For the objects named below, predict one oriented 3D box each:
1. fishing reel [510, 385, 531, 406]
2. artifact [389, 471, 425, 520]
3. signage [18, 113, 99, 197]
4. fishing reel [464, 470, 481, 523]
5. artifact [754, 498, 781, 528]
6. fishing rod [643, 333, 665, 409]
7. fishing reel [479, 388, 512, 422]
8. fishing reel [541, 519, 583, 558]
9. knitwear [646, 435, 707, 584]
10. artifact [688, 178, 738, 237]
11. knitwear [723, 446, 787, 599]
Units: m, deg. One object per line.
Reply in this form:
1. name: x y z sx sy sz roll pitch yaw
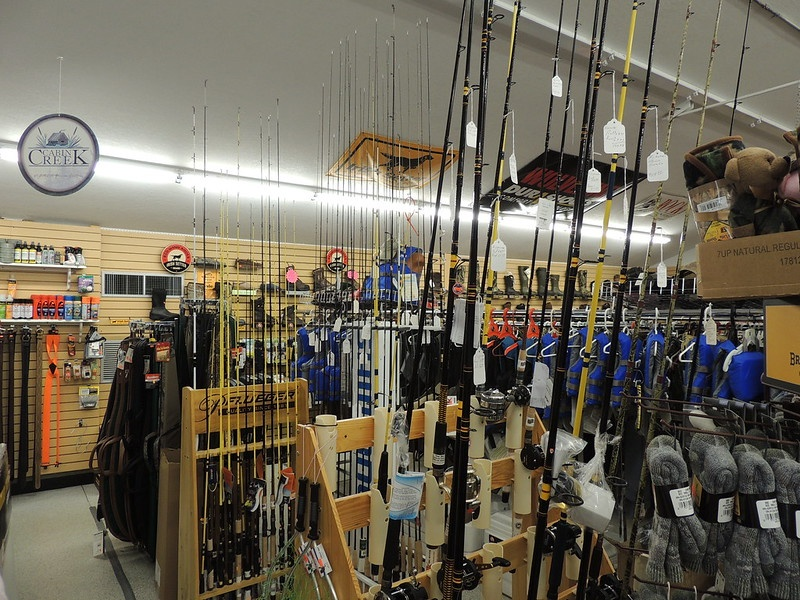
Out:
1. fishing reel: 0.663 0.518 3.311 0.101 0.100 0.041 -15 -4 23
2. artifact: 0.035 0.937 2.912 0.176 0.226 0.112 -2 0 -4
3. signage: -2.429 -1.027 4.322 0.492 0.653 0.047 -3 -15 -22
4. fishing reel: 0.375 1.016 3.074 0.062 0.281 0.248 -2 0 10
5. artifact: 1.644 0.951 2.710 0.109 0.128 0.028 7 -4 -14
6. fishing rod: 2.033 0.506 4.935 0.065 0.457 0.230 4 9 14
7. fishing reel: 0.517 0.565 3.258 0.129 0.159 0.162 1 -5 -13
8. fishing reel: 0.817 1.187 3.021 0.134 0.193 0.329 -2 0 34
9. knitwear: 1.264 0.962 2.800 0.264 0.605 0.166 -2 0 10
10. artifact: 1.430 -0.407 2.797 0.071 0.247 0.181 -2 0 -35
11. knitwear: 1.549 1.014 2.765 0.172 0.564 0.402 -1 -15 16
